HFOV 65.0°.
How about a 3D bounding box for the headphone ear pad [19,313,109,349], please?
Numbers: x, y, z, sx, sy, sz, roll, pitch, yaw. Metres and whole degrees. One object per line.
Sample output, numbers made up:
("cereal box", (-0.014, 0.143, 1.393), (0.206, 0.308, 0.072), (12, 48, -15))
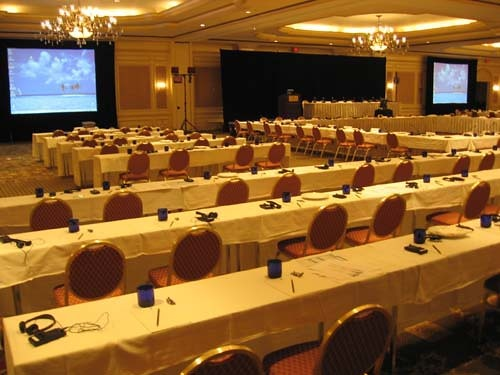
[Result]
("headphone ear pad", (-1.041, 0.782, 2.194), (0.186, 0.062, 0.319), (7, 7, 40))

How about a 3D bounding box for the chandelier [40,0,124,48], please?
("chandelier", (-5.756, -5.554, 13.160), (1.889, 1.768, 2.000), (-7, 16, -15))

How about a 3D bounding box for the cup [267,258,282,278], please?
("cup", (0.172, 0.575, 2.812), (0.111, 0.129, 0.109), (1, 5, 0))

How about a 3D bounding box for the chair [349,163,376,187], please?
("chair", (1.783, -0.193, 6.208), (0.234, 0.467, 0.269), (-7, 22, -20))

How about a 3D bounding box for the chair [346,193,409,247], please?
("chair", (1.364, 0.349, 4.275), (0.361, 0.760, 0.433), (-9, 22, -23))

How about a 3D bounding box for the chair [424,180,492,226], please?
("chair", (2.580, 0.200, 4.878), (0.353, 0.710, 0.409), (-11, 22, -24))

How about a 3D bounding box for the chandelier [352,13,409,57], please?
("chandelier", (4.837, -5.796, 14.837), (1.913, 1.293, 1.940), (-2, 9, -28))

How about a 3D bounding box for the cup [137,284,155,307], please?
("cup", (-0.656, 0.671, 2.489), (0.110, 0.138, 0.118), (1, 9, 0))
